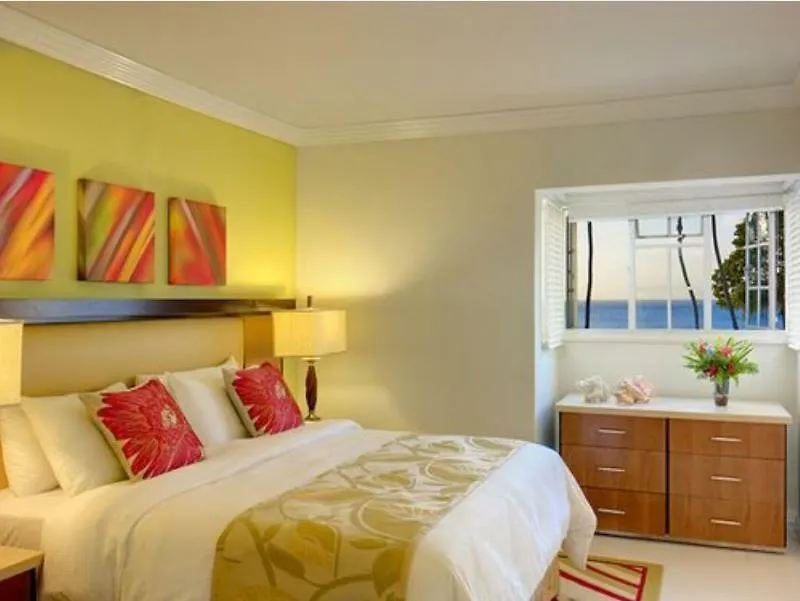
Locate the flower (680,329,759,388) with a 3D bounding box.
[{"bbox_3d":[2.569,0.448,4.517,0.463,0.338,0.488,0,0,9],"label":"flower"}]

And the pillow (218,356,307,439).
[{"bbox_3d":[-0.906,0.677,3.940,0.184,0.626,0.665,-31,-21,16],"label":"pillow"}]
